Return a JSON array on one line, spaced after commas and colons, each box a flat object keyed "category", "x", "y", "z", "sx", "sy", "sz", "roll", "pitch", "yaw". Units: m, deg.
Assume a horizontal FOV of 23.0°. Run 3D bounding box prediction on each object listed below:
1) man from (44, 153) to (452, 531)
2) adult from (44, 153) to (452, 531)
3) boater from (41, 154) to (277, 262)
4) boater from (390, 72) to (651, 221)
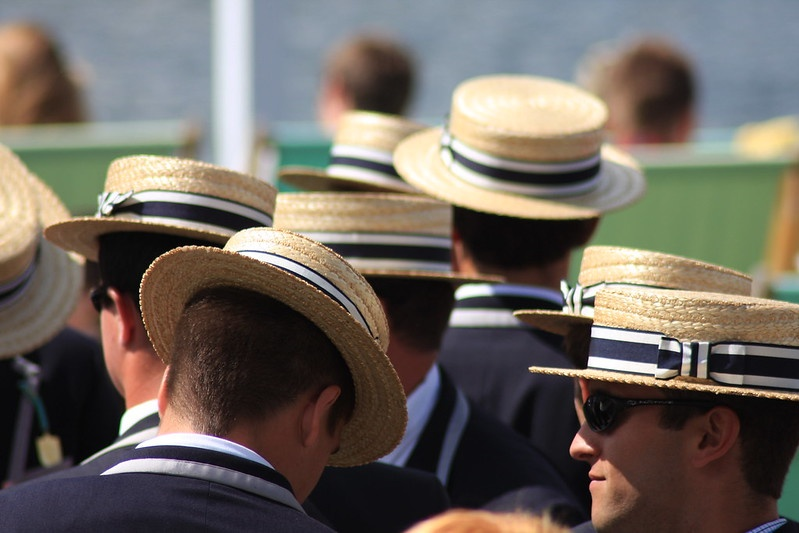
[{"category": "man", "x": -0.981, "y": 0.674, "z": 11.158, "sx": 2.140, "sy": 2.147, "sz": 1.173, "roll": 7, "pitch": 67, "yaw": -2}, {"category": "adult", "x": -0.934, "y": 0.103, "z": 9.809, "sx": 2.140, "sy": 2.147, "sz": 1.173, "roll": 7, "pitch": 67, "yaw": -2}, {"category": "boater", "x": -1.345, "y": -0.344, "z": 10.939, "sx": 1.605, "sy": 0.358, "sz": 1.594, "roll": 6, "pitch": -4, "yaw": -39}, {"category": "boater", "x": 0.742, "y": -0.778, "z": 11.443, "sx": 1.495, "sy": 0.422, "sz": 1.360, "roll": -1, "pitch": 29, "yaw": -11}]
